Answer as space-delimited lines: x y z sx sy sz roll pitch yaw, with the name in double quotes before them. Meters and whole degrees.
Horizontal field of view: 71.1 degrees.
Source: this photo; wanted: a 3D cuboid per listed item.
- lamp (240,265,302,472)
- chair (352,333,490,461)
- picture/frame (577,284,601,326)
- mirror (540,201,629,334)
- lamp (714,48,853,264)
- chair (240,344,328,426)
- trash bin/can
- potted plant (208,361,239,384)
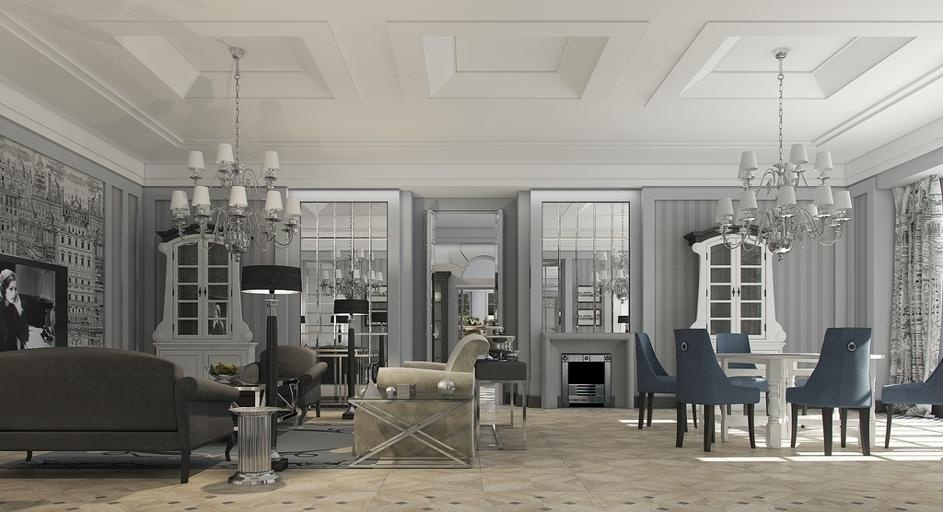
"lamp" -2.524 1.384 8.321 0.940 2.471 0.930 -8 -14 16
"chair" -0.607 1.823 8.738 1.757 1.270 1.698 0 -8 3
"picture/frame" 2.048 0.875 11.378 0.544 0.639 0.182 -1 0 -4
"mirror" 2.008 0.179 11.639 1.508 2.207 0.561 1 6 7
"lamp" 4.356 -1.380 9.407 1.994 2.643 1.850 0 19 22
"chair" -3.022 2.029 10.356 1.377 1.073 1.042 1 -3 4
"trash bin/can" -2.514 2.153 7.640 0.933 0.681 0.849 -1 -9 -1
"potted plant" -3.407 1.648 9.365 0.433 0.199 0.401 0 -5 13
